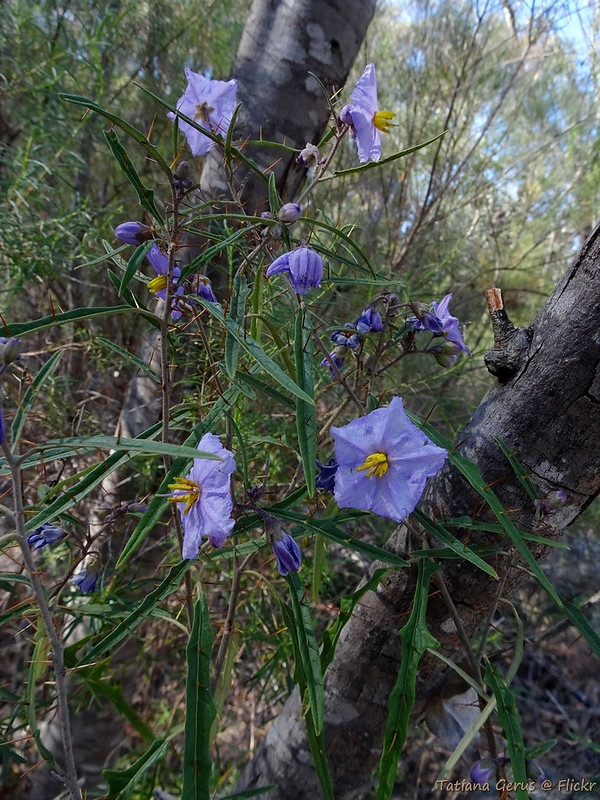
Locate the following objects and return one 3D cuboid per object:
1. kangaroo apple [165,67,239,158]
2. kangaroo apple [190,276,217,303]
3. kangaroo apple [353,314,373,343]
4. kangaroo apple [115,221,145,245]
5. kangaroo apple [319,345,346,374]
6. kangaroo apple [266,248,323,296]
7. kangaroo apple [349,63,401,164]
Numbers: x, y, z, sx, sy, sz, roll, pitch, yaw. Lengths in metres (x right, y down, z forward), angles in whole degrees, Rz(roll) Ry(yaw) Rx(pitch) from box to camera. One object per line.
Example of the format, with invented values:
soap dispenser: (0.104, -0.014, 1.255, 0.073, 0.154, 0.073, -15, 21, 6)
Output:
kangaroo apple: (-0.194, -0.568, 1.411, 0.119, 0.229, 0.125, 10, 17, 29)
kangaroo apple: (-0.192, -0.223, 1.364, 0.028, 0.053, 0.078, -21, -16, 11)
kangaroo apple: (0.138, -0.159, 1.439, 0.023, 0.045, 0.045, 20, -11, -41)
kangaroo apple: (-0.316, -0.311, 1.237, 0.039, 0.030, 0.054, -3, 3, 30)
kangaroo apple: (0.073, -0.094, 1.523, 0.045, 0.034, 0.079, 10, 29, 9)
kangaroo apple: (-0.008, -0.251, 1.308, 0.124, 0.103, 0.081, 3, 14, 13)
kangaroo apple: (0.155, -0.579, 1.427, 0.104, 0.242, 0.112, 3, 12, 17)
